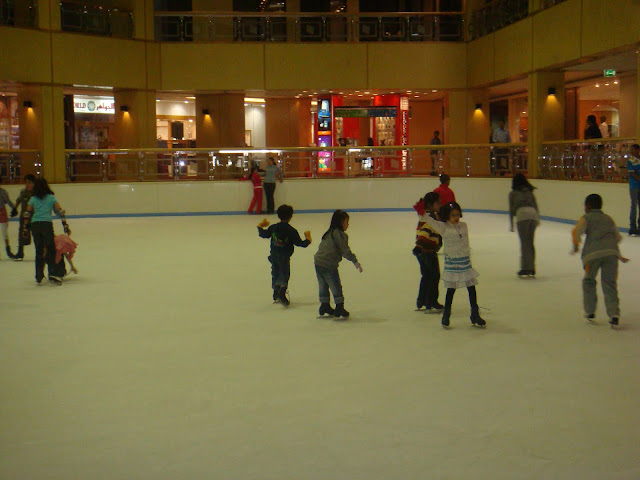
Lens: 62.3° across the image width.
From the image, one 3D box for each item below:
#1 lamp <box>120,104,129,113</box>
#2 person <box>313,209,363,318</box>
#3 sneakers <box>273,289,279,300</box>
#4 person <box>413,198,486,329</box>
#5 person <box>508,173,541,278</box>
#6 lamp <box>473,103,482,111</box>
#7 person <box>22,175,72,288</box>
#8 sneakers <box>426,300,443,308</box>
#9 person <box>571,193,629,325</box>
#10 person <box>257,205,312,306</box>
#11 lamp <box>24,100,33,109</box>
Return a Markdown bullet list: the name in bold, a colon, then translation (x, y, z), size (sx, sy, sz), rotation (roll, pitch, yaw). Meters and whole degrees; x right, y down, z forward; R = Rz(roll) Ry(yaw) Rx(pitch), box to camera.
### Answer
- **lamp**: translation (-8.254, -5.568, 22.342), size (0.331, 0.289, 0.354), rotation (1, 0, -7)
- **person**: translation (0.185, 0.302, 6.306), size (0.499, 1.322, 0.532), rotation (0, 6, 8)
- **sneakers**: translation (-0.598, 0.739, 7.133), size (0.049, 0.152, 0.099), rotation (0, 10, -12)
- **person**: translation (1.508, 0.293, 5.914), size (0.673, 1.403, 0.925), rotation (1, 7, 18)
- **person**: translation (3.381, -0.270, 8.823), size (0.443, 1.687, 0.754), rotation (2, 7, 22)
- **lamp**: translation (6.906, -5.818, 23.390), size (0.402, 0.449, 0.206), rotation (0, -2, 2)
- **person**: translation (-4.451, -0.165, 8.694), size (0.581, 1.721, 0.833), rotation (-4, 7, -30)
- **sneakers**: translation (1.439, 0.812, 6.640), size (0.100, 0.066, 0.152), rotation (0, -8, -37)
- **person**: translation (3.192, 0.209, 6.067), size (0.566, 1.473, 1.147), rotation (3, 7, 28)
- **person**: translation (-0.500, 0.143, 6.882), size (0.616, 1.281, 0.554), rotation (10, 18, 15)
- **lamp**: translation (-11.114, -5.195, 20.185), size (0.302, 0.322, 0.157), rotation (-1, -3, 30)
